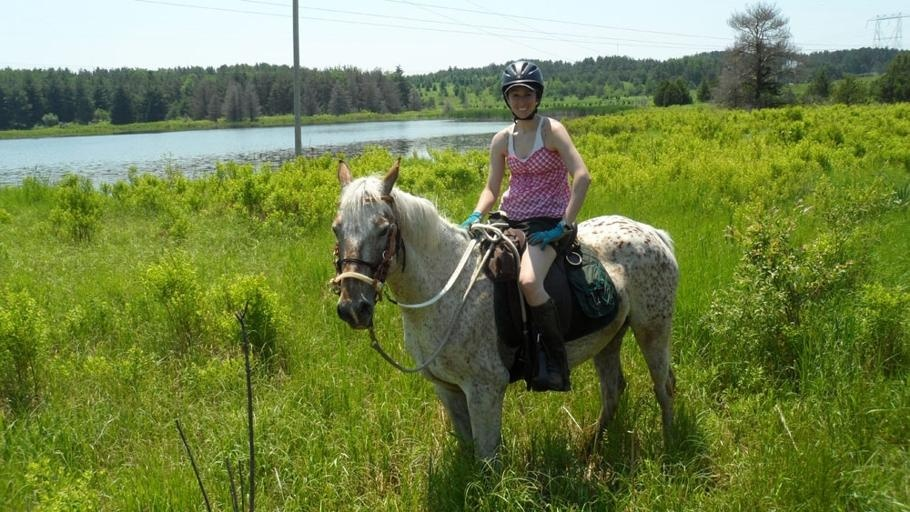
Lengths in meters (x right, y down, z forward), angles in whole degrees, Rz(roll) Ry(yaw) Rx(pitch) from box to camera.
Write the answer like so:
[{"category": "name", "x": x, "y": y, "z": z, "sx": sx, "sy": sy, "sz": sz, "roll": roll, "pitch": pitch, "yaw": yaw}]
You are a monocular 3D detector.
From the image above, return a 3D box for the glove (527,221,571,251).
[{"category": "glove", "x": 1.934, "y": -0.408, "z": 15.921, "sx": 0.766, "sy": 0.243, "sz": 0.514, "roll": -33, "pitch": 46, "yaw": -11}]
